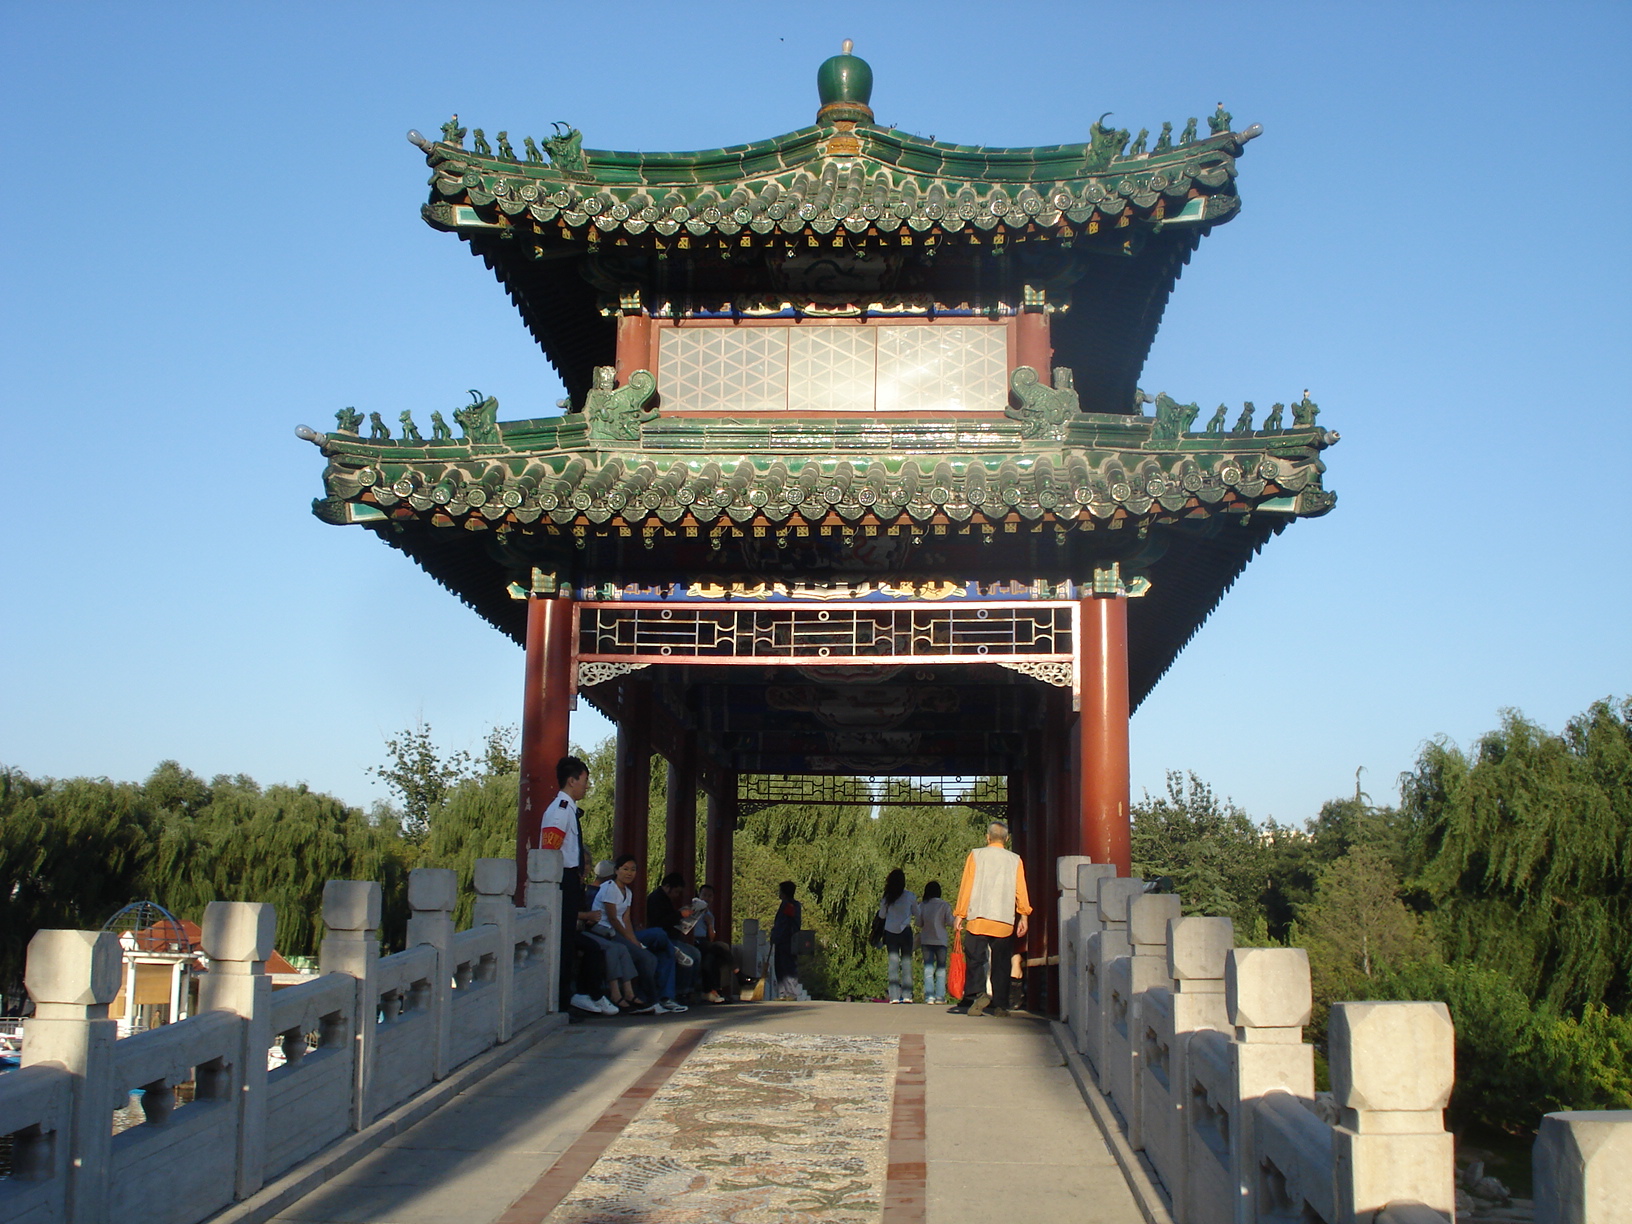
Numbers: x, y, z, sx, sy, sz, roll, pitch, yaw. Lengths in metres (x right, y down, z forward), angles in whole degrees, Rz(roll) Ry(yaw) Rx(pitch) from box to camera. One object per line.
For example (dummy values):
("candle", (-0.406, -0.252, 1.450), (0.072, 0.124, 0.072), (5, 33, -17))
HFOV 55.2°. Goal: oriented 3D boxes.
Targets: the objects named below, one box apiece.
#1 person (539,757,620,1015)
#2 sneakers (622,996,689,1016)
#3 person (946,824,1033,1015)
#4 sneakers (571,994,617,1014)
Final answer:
("person", (-2.181, 2.478, 14.359), (0.640, 2.312, 1.460), (1, -6, -8))
("sneakers", (-1.483, 3.644, 14.397), (0.568, 0.275, 0.213), (-4, -14, 16))
("person", (1.622, 2.869, 14.619), (0.651, 1.785, 0.851), (0, -5, 5))
("sneakers", (-2.001, 3.527, 14.041), (0.278, 0.119, 0.177), (4, -3, -31))
